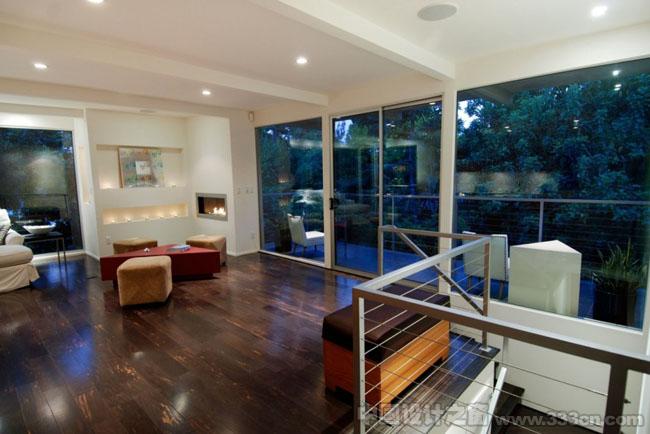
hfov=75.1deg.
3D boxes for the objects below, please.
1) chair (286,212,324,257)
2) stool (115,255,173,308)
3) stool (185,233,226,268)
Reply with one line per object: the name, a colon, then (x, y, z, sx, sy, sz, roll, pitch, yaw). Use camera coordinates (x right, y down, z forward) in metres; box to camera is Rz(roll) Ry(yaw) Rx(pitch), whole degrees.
chair: (-0.392, 0.305, 7.879, 0.747, 0.855, 0.619, -7, 12, -19)
stool: (-2.636, 0.933, 6.231, 0.685, 0.590, 0.594, -4, 15, -12)
stool: (-2.149, 0.609, 7.881, 0.631, 0.502, 0.621, 0, 1, 23)
